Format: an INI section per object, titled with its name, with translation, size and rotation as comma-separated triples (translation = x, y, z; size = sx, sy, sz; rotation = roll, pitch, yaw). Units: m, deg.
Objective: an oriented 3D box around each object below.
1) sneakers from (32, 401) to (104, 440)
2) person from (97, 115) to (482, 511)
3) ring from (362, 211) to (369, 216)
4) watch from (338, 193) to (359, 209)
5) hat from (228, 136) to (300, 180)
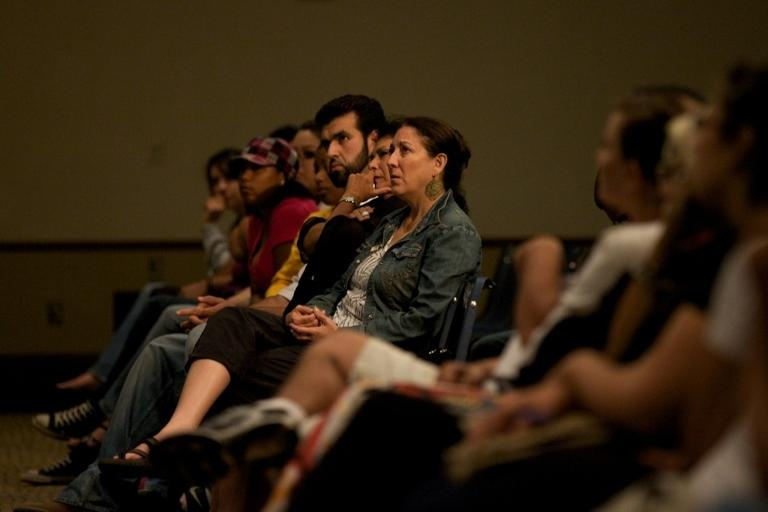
[sneakers]
translation = -1.459, 0.801, 3.027
size = 0.395, 0.183, 0.141
rotation = -1, -20, 5
[person]
translation = -0.267, 0.122, 2.338
size = 1.173, 1.502, 0.666
rotation = 16, -8, -26
[ring]
translation = -0.074, -0.177, 2.639
size = 0.018, 0.020, 0.011
rotation = 10, -38, 6
[watch]
translation = -0.154, -0.237, 2.755
size = 0.055, 0.028, 0.070
rotation = 42, 4, 7
[hat]
translation = -0.592, -0.458, 3.164
size = 0.259, 0.143, 0.190
rotation = 19, -8, -26
